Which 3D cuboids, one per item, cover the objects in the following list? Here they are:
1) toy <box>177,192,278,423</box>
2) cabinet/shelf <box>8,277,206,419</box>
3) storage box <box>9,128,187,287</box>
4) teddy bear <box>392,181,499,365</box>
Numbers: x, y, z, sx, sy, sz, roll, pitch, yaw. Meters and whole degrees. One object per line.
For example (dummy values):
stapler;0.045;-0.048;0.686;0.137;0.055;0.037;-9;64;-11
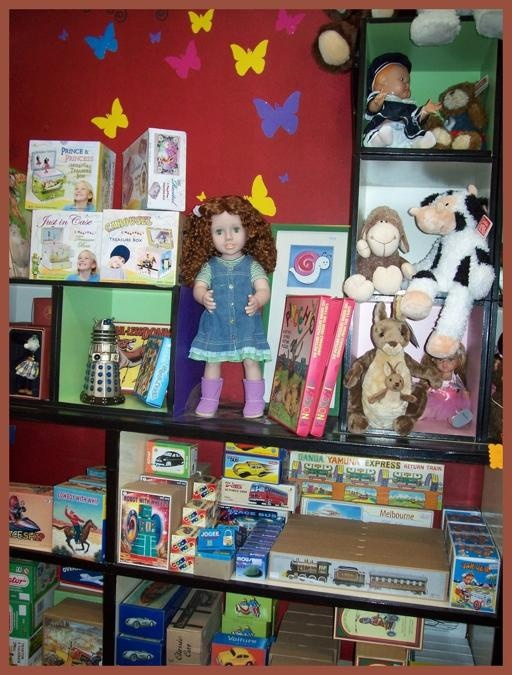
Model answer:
toy;-0.087;-0.085;1.670;0.272;0.626;0.224;3;-2;2
cabinet/shelf;-0.424;-0.024;1.758;0.529;0.471;0.345;3;-1;10
storage box;-0.458;-0.358;1.648;0.534;0.453;0.266;3;-7;8
teddy bear;0.467;-0.162;1.403;0.216;0.430;0.152;3;-2;10
